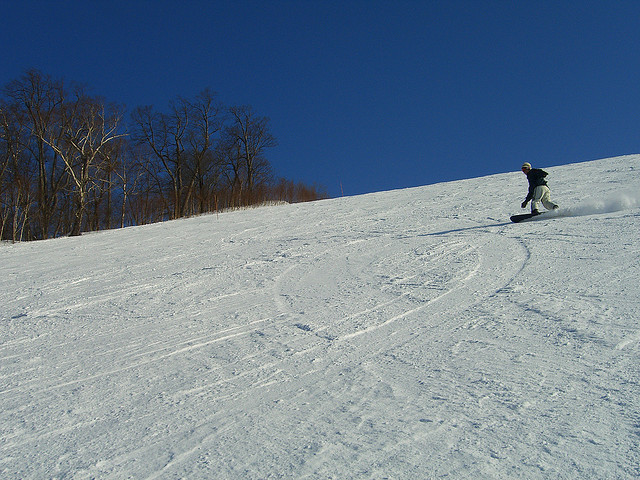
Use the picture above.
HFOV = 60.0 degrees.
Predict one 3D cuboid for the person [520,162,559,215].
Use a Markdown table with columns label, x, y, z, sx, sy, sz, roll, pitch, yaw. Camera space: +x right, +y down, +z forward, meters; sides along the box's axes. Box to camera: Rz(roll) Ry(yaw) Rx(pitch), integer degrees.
| label | x | y | z | sx | sy | sz | roll | pitch | yaw |
| --- | --- | --- | --- | --- | --- | --- | --- | --- | --- |
| person | 5.439 | -1.232 | 13.733 | 0.767 | 1.222 | 1.221 | -1 | 12 | 22 |

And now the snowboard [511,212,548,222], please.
| label | x | y | z | sx | sy | sz | roll | pitch | yaw |
| --- | --- | --- | --- | --- | --- | --- | --- | --- | --- |
| snowboard | 5.048 | -0.545 | 13.353 | 0.796 | 0.237 | 0.123 | -4 | 9 | -1 |
